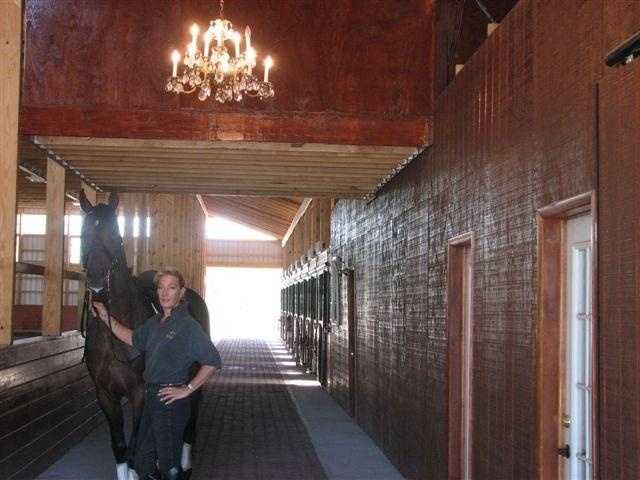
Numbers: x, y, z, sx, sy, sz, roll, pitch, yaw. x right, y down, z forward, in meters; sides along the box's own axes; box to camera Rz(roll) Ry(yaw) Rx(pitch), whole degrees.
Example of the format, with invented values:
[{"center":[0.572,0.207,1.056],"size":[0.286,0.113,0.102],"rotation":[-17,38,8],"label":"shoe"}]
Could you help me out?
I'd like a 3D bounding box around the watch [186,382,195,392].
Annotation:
[{"center":[-0.864,0.976,3.697],"size":[0.057,0.053,0.045],"rotation":[3,-5,-2],"label":"watch"}]
